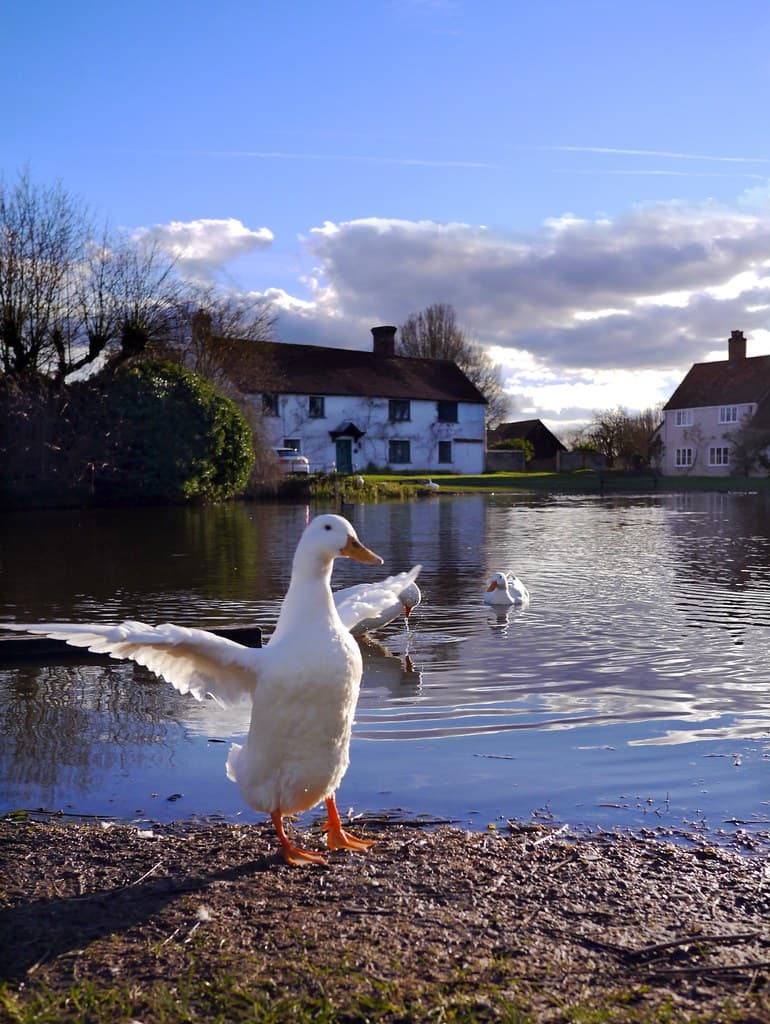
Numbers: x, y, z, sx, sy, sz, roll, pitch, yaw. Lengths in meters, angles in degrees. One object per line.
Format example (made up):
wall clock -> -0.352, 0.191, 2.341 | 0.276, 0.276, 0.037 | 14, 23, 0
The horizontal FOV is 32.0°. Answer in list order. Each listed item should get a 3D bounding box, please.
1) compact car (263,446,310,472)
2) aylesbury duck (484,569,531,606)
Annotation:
compact car -> -3.111, -1.836, 46.867 | 0.952, 0.712, 1.848 | -4, 12, -28
aylesbury duck -> 1.014, 0.640, 11.274 | 0.313, 0.293, 0.435 | 4, 10, 29
